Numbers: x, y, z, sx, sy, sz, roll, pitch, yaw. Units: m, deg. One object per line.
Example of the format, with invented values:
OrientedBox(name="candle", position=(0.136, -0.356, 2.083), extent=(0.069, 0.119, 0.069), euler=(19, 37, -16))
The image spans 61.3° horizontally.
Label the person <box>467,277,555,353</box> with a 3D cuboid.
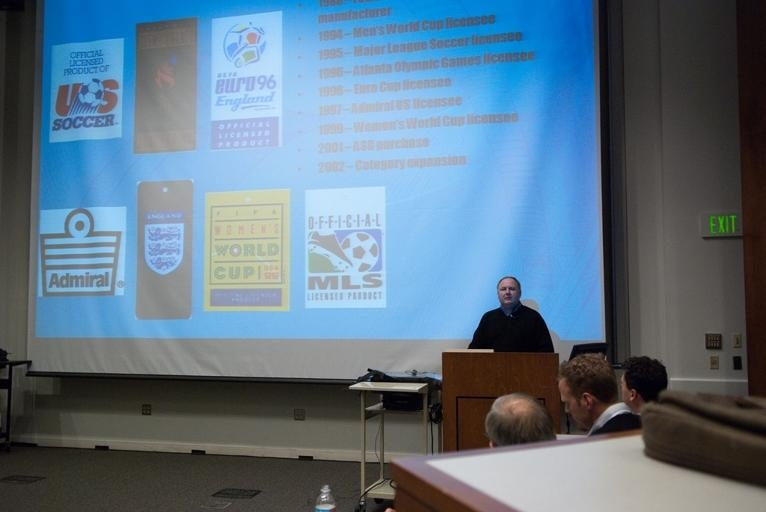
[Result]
OrientedBox(name="person", position=(1.160, 0.527, 5.900), extent=(0.780, 0.666, 0.300), euler=(-1, 3, 6))
